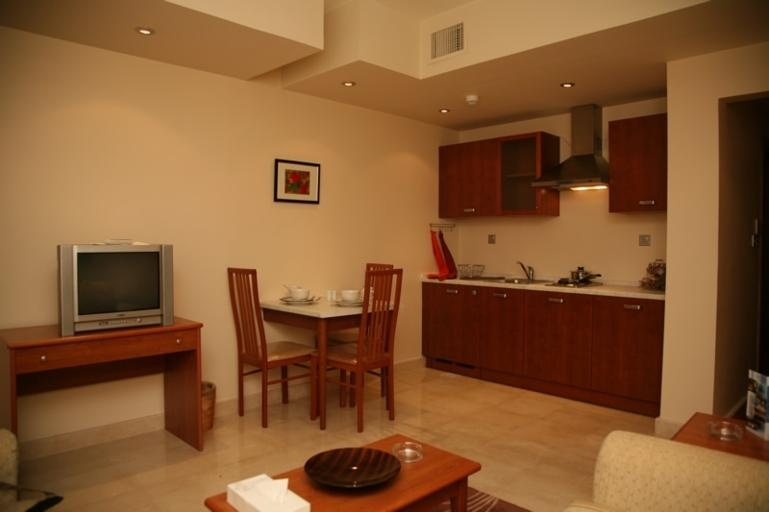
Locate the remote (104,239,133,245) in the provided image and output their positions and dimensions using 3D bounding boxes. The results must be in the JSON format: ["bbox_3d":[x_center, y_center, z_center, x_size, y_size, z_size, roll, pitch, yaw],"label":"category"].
[{"bbox_3d":[-2.173,-0.127,4.620,0.201,0.038,0.055,-3,11,-18],"label":"remote"}]

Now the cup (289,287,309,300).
[{"bbox_3d":[-0.793,0.349,5.194,0.131,0.074,0.121,-1,-6,0],"label":"cup"}]

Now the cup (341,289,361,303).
[{"bbox_3d":[-0.313,0.371,5.121,0.112,0.073,0.138,-1,-3,-35],"label":"cup"}]

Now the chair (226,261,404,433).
[{"bbox_3d":[-0.987,0.772,5.051,0.746,1.363,0.592,-3,11,-16],"label":"chair"}]

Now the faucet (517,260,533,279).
[{"bbox_3d":[1.624,0.165,6.364,0.176,0.175,0.312,1,10,3],"label":"faucet"}]

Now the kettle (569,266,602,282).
[{"bbox_3d":[2.063,0.180,5.856,0.173,0.129,0.261,0,1,-18],"label":"kettle"}]

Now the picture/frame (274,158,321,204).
[{"bbox_3d":[-0.865,-0.734,5.494,0.475,0.397,0.046,0,0,-40],"label":"picture/frame"}]
